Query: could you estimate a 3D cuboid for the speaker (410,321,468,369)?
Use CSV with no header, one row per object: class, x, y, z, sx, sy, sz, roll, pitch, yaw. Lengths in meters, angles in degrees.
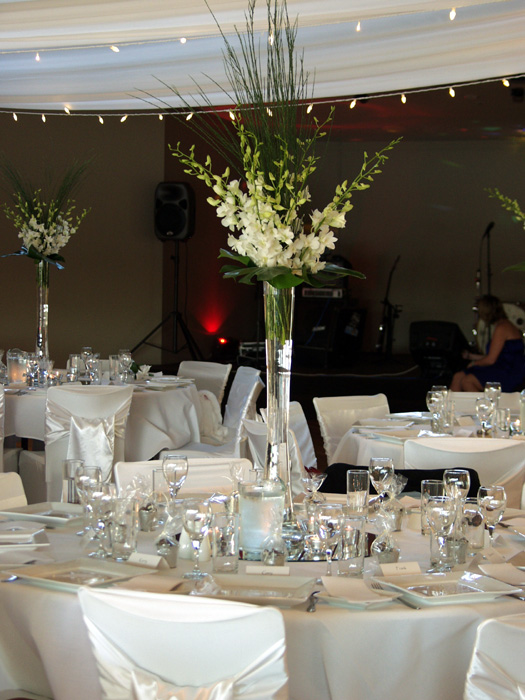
speaker,2.924,-0.060,9.687,0.937,0.767,0.886,0,-6,32
